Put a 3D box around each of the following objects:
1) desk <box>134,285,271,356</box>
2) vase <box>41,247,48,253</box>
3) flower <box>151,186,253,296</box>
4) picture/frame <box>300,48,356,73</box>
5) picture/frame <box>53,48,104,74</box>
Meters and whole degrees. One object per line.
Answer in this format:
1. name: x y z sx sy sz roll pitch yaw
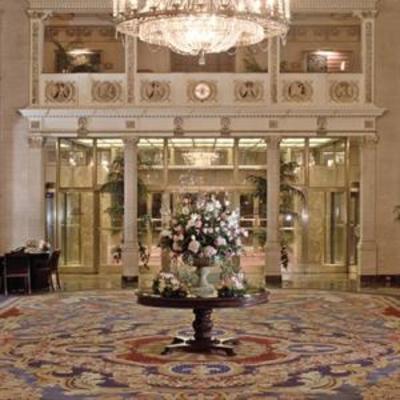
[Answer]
1. desk: 0.042 1.731 8.500 1.943 0.769 1.800 -1 -6 4
2. vase: -3.463 1.119 13.425 0.193 0.115 0.098 0 -3 10
3. flower: 0.025 0.622 8.251 1.300 1.330 0.786 0 0 -3
4. picture/frame: 3.730 -4.066 17.437 1.459 0.667 0.382 0 0 7
5. picture/frame: -3.455 -4.088 17.384 1.596 0.829 0.058 0 4 7
